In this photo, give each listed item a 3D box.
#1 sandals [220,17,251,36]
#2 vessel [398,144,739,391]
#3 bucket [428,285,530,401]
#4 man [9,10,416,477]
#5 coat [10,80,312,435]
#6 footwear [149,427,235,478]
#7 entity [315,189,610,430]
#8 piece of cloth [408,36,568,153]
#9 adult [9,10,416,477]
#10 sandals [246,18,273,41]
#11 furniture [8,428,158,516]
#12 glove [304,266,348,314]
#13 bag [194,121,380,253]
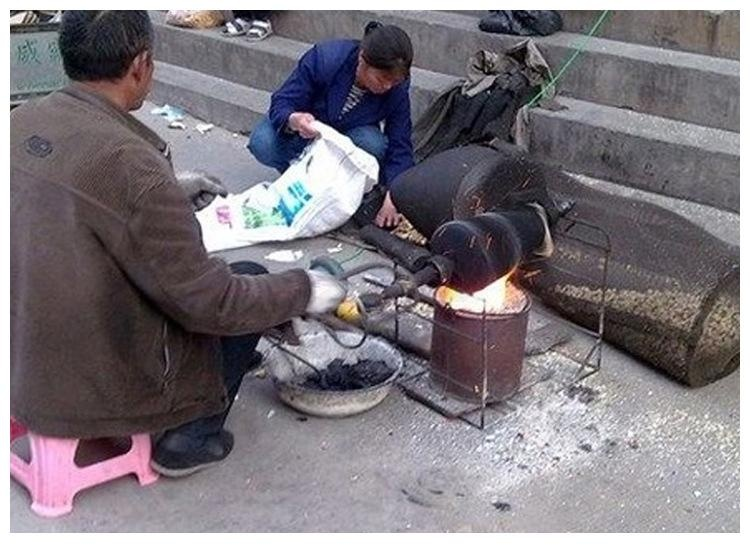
[{"bbox_3d":[-1.562,-2.777,6.984,0.257,0.107,0.260,4,33,5],"label":"sandals"},{"bbox_3d":[1.251,-0.114,4.113,1.863,0.769,0.922,27,27,28],"label":"vessel"},{"bbox_3d":[0.599,0.325,3.529,0.525,0.585,0.522,-3,32,2],"label":"bucket"},{"bbox_3d":[-0.999,-0.074,2.939,1.416,2.238,1.254,13,21,15],"label":"man"},{"bbox_3d":[-1.122,-0.002,2.930,1.416,1.457,1.089,13,16,25],"label":"coat"},{"bbox_3d":[-0.891,0.863,3.029,0.325,0.103,0.199,-26,50,-36],"label":"footwear"},{"bbox_3d":[0.442,0.311,3.612,1.330,1.057,1.293,21,36,38],"label":"entity"},{"bbox_3d":[0.933,-1.427,5.091,1.167,0.510,0.926,-37,57,-10],"label":"piece of cloth"},{"bbox_3d":[-0.998,-0.080,2.996,1.431,2.210,1.356,14,23,15],"label":"adult"},{"bbox_3d":[-1.278,-2.701,6.848,0.196,0.104,0.304,7,33,8],"label":"sandals"},{"bbox_3d":[-1.393,0.914,2.951,0.464,0.345,0.484,-14,26,-38],"label":"furniture"},{"bbox_3d":[-0.230,0.091,2.793,0.173,0.204,0.154,-20,14,-5],"label":"glove"},{"bbox_3d":[-0.666,-0.601,4.872,1.221,0.600,0.968,-14,37,-6],"label":"bag"}]
